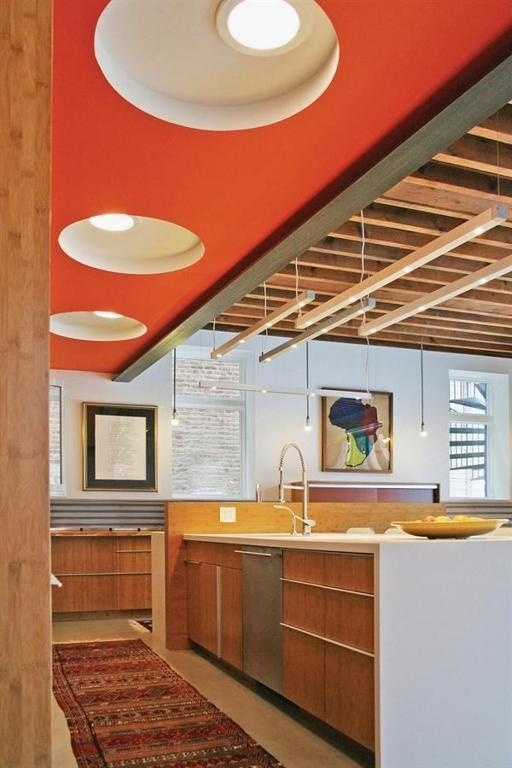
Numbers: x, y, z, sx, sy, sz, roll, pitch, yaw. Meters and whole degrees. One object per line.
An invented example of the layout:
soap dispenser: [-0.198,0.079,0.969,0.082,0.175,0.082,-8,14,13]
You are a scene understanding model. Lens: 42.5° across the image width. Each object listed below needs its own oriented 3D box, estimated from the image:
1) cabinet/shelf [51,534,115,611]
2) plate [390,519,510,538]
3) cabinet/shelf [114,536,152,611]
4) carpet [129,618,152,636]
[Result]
cabinet/shelf: [-1.706,1.864,6.568,0.629,0.742,0.180,1,-12,-16]
plate: [0.771,0.571,2.644,0.416,0.085,0.286,-4,-12,5]
cabinet/shelf: [-1.267,1.910,6.765,0.354,0.732,0.112,1,-12,-16]
carpet: [-1.084,2.251,6.201,0.195,0.031,1.019,0,-12,-11]
